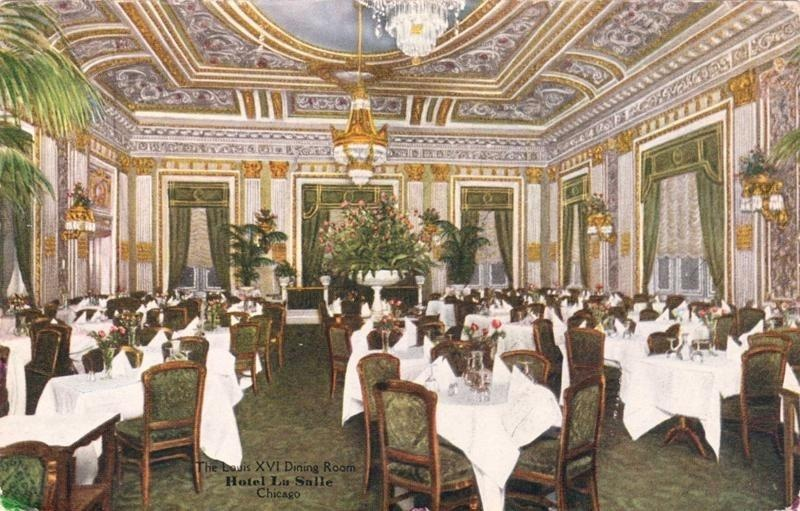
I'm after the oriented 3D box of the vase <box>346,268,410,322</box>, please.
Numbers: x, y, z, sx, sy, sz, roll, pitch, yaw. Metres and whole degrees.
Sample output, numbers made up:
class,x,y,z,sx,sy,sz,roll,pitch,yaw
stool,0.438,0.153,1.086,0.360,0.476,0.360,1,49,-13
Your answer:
class,x,y,z,sx,sy,sz,roll,pitch,yaw
vase,-0.327,0.620,11.719,0.707,0.757,0.743,0,-7,-3

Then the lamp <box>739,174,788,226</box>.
class,x,y,z,sx,sy,sz,roll,pitch,yaw
lamp,6.143,-0.914,12.663,0.922,0.767,0.545,4,-6,-37

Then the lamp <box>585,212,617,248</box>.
class,x,y,z,sx,sy,sz,roll,pitch,yaw
lamp,4.460,-0.601,16.679,0.623,0.974,0.710,2,-4,-44

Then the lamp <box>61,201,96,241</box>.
class,x,y,z,sx,sy,sz,roll,pitch,yaw
lamp,-6.173,-0.645,14.814,0.753,0.859,0.599,0,-1,37

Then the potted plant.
class,x,y,z,sx,sy,sz,roll,pitch,yaw
potted plant,-3.517,0.022,18.078,1.581,1.739,1.588,3,-12,-10
